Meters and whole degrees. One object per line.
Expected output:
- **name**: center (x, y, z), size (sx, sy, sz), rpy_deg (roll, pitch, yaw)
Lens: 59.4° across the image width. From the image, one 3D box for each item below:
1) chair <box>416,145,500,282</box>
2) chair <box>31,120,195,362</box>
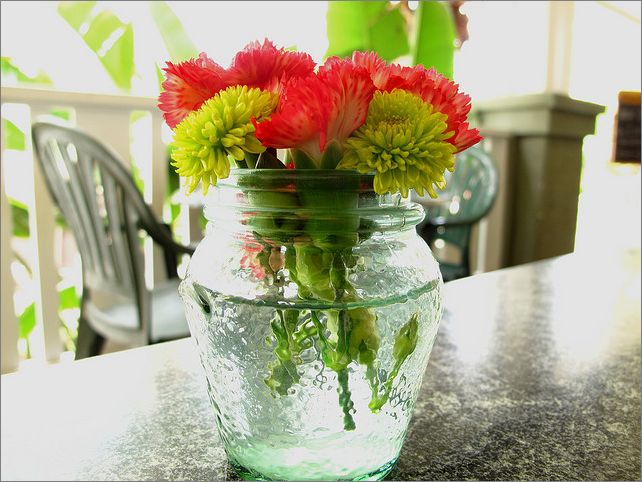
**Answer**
- **chair**: center (0.527, -0.122, 2.409), size (0.339, 0.467, 0.344), rpy_deg (12, -8, -13)
- **chair**: center (-0.483, -0.024, 1.327), size (0.341, 0.520, 0.304), rpy_deg (-5, 10, -15)
